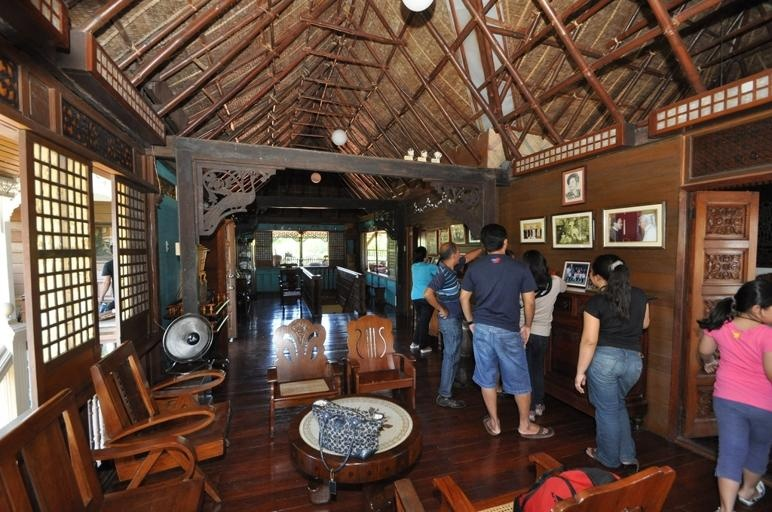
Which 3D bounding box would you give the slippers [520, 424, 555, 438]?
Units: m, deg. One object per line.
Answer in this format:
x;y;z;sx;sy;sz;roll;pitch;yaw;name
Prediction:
1.630;1.899;5.501;0.258;0.086;0.158;-1;0;0;slippers

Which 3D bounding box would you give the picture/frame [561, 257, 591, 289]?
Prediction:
2.336;0.217;6.228;0.103;0.349;0.327;2;3;-26;picture/frame

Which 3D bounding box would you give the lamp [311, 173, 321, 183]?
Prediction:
-1.447;-1.628;10.505;0.178;0.216;0.791;-2;0;-11;lamp

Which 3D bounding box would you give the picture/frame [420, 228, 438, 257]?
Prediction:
0.858;-0.258;10.043;0.038;0.410;0.545;-1;3;-18;picture/frame

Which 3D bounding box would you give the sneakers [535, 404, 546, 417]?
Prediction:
1.770;1.772;5.863;0.127;0.174;0.094;3;2;-4;sneakers

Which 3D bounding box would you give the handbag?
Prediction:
-0.364;1.487;4.436;0.617;0.445;0.333;9;28;10;handbag

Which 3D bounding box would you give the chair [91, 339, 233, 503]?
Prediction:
-2.091;1.569;4.947;1.016;1.440;1.240;-2;7;-11;chair

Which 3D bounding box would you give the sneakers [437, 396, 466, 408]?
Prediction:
0.767;1.712;6.056;0.293;0.152;0.131;1;-1;2;sneakers

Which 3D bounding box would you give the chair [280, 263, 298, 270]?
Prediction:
-3.071;0.333;15.930;0.340;0.169;0.355;-1;1;-6;chair

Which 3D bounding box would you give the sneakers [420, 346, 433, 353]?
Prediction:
0.615;1.451;7.821;0.069;0.088;0.210;-6;-11;38;sneakers

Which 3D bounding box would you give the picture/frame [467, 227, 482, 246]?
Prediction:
1.334;-0.288;7.666;0.036;0.280;0.237;-17;20;-38;picture/frame

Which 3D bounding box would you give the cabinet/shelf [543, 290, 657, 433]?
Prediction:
2.279;1.100;5.321;0.497;1.431;1.450;3;-3;-15;cabinet/shelf

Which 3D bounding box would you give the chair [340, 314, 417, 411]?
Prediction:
-0.075;1.232;5.571;0.818;1.023;0.865;-4;0;19;chair

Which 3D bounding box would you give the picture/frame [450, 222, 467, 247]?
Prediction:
1.253;-0.358;8.745;0.059;0.344;0.457;-2;-1;-13;picture/frame

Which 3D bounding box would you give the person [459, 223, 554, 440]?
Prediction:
1.262;0.813;5.573;0.869;2.286;0.434;-2;0;11;person

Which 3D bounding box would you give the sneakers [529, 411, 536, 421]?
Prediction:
1.670;1.820;5.782;0.065;0.078;0.173;1;4;11;sneakers

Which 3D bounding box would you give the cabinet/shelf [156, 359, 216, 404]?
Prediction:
-2.281;1.428;5.756;0.758;0.365;0.556;1;8;-8;cabinet/shelf

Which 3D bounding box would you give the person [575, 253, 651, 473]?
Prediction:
2.226;1.050;5.031;0.699;2.209;0.399;-2;0;12;person

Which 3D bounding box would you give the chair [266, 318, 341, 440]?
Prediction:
-0.895;1.280;5.456;0.720;1.054;0.643;-3;3;-16;chair

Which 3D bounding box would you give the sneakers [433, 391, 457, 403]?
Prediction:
0.704;1.697;6.104;0.270;0.138;0.110;0;1;3;sneakers
